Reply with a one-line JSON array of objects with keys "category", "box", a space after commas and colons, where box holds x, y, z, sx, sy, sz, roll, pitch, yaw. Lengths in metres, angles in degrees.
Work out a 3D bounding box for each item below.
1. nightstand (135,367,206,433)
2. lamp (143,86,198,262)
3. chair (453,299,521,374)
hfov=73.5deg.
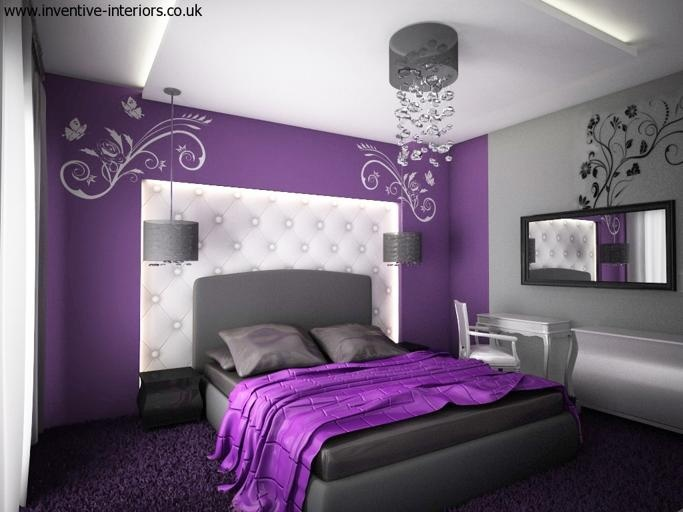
[{"category": "nightstand", "box": [-1.494, 1.259, 4.036, 0.546, 0.508, 0.423, 3, -8, -31]}, {"category": "lamp", "box": [-1.622, -0.715, 4.184, 0.476, 1.631, 0.641, -4, 10, -25]}, {"category": "chair", "box": [1.515, 0.805, 5.126, 0.730, 1.198, 0.724, -1, -2, 2]}]
